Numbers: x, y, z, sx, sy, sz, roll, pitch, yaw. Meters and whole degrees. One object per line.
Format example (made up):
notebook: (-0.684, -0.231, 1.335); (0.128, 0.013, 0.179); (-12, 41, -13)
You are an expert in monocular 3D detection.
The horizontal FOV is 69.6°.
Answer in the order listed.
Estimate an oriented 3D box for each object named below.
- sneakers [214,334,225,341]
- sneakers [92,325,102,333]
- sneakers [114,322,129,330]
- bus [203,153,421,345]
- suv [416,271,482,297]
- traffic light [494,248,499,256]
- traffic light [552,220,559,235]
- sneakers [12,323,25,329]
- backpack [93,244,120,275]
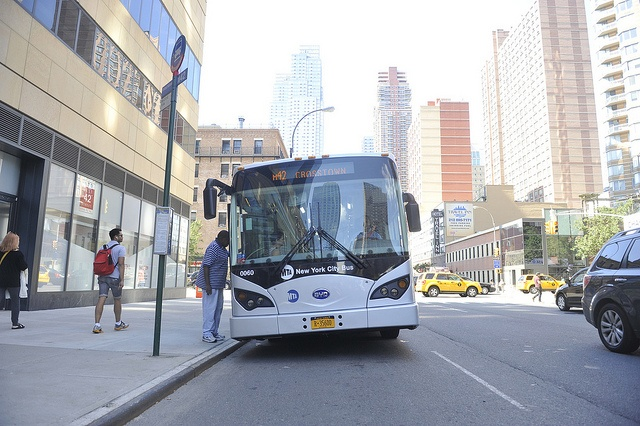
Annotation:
sneakers: (-2.640, 3.302, 12.203); (0.177, 0.076, 0.198); (-2, -4, 5)
sneakers: (-5.938, 3.085, 12.266); (0.114, 0.139, 0.301); (1, -3, -7)
sneakers: (-5.608, 3.204, 13.106); (0.435, 0.227, 0.194); (-6, -1, 15)
bus: (0.048, 1.583, 12.707); (3.142, 3.053, 5.330); (-3, -19, 2)
suv: (10.659, 6.005, 38.553); (4.592, 2.063, 2.251); (-1, -7, -4)
traffic light: (22.190, 4.812, 57.706); (0.337, 0.884, 1.689); (-4, -11, 11)
traffic light: (21.001, 1.166, 41.115); (0.253, 0.895, 0.961); (-9, -12, 36)
sneakers: (-8.027, 3.012, 12.318); (0.207, 0.098, 0.095); (-2, -3, -8)
backpack: (-5.988, 1.338, 12.514); (0.424, 0.781, 0.753); (-7, -8, 15)
